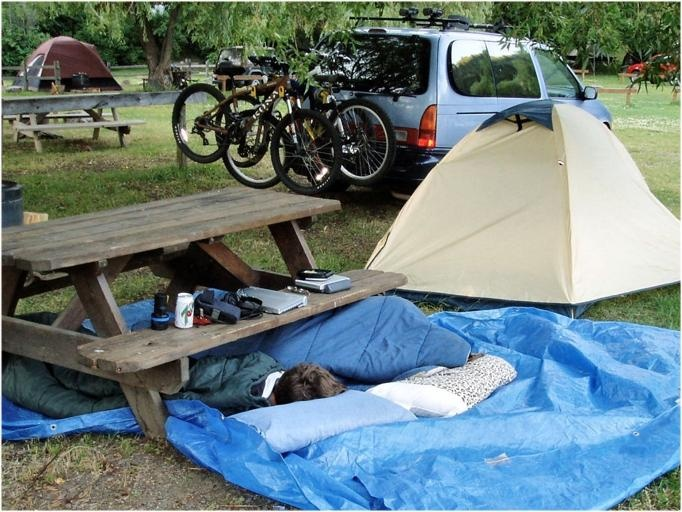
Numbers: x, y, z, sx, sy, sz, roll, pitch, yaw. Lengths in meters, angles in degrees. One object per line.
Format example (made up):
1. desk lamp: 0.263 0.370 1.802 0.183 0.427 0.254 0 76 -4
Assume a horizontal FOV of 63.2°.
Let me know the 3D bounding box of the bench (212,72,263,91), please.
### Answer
1. bench: -1.454 -2.432 7.675 0.726 0.155 0.417 15 20 37

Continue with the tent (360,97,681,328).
1. tent: 1.699 -0.465 4.910 2.638 1.723 1.090 1 20 3

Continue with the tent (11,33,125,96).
1. tent: -8.320 -5.792 16.640 2.839 1.607 3.898 -9 20 -27

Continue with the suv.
1. suv: 2.053 -2.347 8.677 4.942 2.139 2.381 -17 27 -41

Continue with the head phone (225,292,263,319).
1. head phone: -0.637 0.312 3.510 0.234 0.075 0.148 16 17 -1
